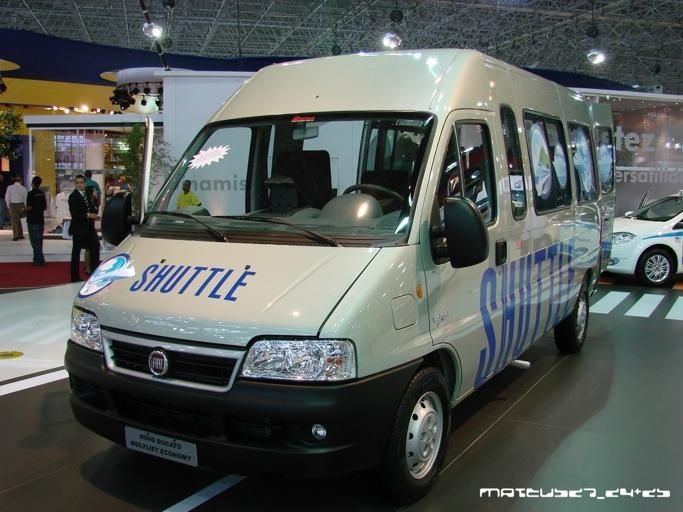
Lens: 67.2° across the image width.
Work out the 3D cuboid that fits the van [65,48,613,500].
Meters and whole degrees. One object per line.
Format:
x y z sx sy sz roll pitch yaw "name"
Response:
0.524 -0.103 4.538 2.463 2.221 4.517 1 4 30 "van"
